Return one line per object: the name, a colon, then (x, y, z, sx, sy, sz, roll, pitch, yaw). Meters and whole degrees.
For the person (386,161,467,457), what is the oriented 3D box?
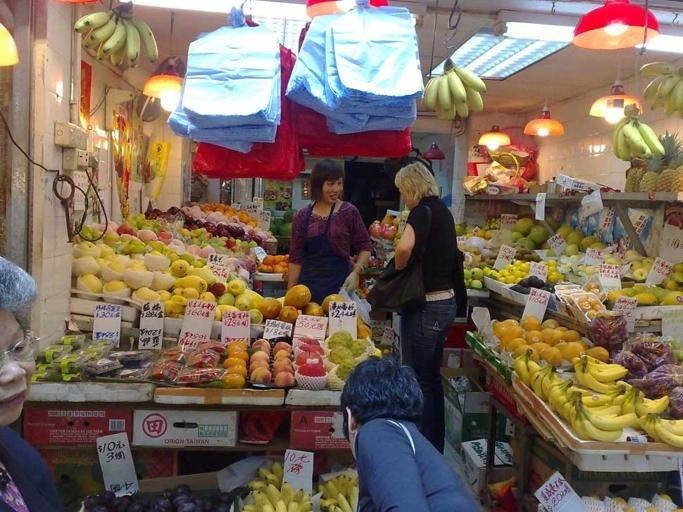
person: (0.620, 0.399, 4.139, 0.718, 2.259, 0.765, 5, 2, 43)

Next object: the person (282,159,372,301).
person: (-0.124, -0.158, 4.245, 0.464, 1.310, 0.517, 1, 3, -5)

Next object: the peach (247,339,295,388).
peach: (-0.395, 0.598, 2.910, 0.243, 0.198, 0.341, -3, 15, -10)

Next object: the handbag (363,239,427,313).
handbag: (0.412, 0.171, 3.870, 0.283, 0.416, 0.440, -1, 12, -12)
